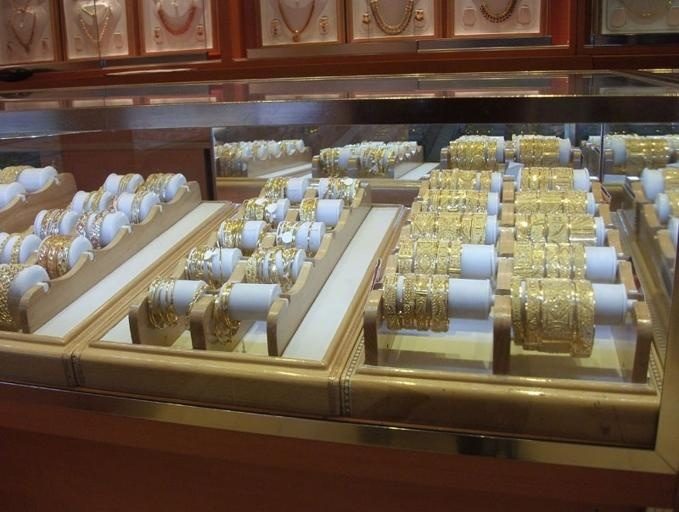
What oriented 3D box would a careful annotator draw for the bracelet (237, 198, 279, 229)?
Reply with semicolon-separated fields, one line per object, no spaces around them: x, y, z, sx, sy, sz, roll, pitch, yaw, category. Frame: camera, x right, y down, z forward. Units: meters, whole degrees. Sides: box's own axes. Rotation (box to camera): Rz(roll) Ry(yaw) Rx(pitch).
-0.244;-0.134;1.542;0.093;0.093;0.088;6;27;15;bracelet

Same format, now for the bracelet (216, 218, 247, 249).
-0.298;-0.063;1.420;0.071;0.083;0.071;3;6;8;bracelet

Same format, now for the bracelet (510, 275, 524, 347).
0.352;0.109;1.020;0.028;0.134;0.046;2;-10;21;bracelet

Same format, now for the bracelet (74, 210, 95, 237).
-0.724;-0.089;1.460;0.063;0.074;0.058;4;1;4;bracelet

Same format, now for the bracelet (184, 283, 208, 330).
-0.300;0.110;1.136;0.022;0.073;0.067;20;-46;-14;bracelet

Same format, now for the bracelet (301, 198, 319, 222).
-0.090;-0.131;1.501;0.051;0.076;0.054;1;4;10;bracelet

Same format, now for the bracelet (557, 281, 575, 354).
0.436;0.124;0.993;0.025;0.100;0.084;-2;36;19;bracelet

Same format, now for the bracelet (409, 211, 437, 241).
0.204;-0.071;1.296;0.054;0.062;0.058;0;5;12;bracelet

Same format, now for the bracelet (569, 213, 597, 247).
0.615;-0.046;1.307;0.056;0.091;0.084;-1;-22;23;bracelet

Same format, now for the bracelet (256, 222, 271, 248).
-0.209;-0.053;1.392;0.039;0.088;0.057;3;6;10;bracelet

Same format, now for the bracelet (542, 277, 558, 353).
0.407;0.118;1.007;0.017;0.121;0.042;1;-10;23;bracelet

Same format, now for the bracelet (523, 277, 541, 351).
0.374;0.119;1.005;0.025;0.094;0.095;1;39;11;bracelet

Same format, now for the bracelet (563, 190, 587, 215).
0.642;-0.147;1.399;0.056;0.031;0.063;-2;30;12;bracelet

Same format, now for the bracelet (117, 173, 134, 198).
-0.697;-0.227;1.676;0.036;0.076;0.071;8;12;13;bracelet

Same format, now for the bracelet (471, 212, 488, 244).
0.350;-0.073;1.287;0.050;0.112;0.075;1;6;17;bracelet

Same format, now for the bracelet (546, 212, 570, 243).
0.537;-0.066;1.267;0.049;0.103;0.099;3;24;21;bracelet

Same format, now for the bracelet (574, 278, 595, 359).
0.468;0.123;0.989;0.027;0.114;0.098;-2;32;14;bracelet

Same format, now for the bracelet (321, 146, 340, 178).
-0.030;-0.320;1.764;0.057;0.083;0.065;1;18;5;bracelet

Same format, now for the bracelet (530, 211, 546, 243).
0.490;-0.073;1.276;0.055;0.061;0.014;6;-21;40;bracelet

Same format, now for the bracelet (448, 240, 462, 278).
0.262;0.013;1.172;0.029;0.105;0.070;0;2;16;bracelet

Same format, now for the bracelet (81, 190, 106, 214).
-0.769;-0.171;1.622;0.067;0.079;0.066;0;-8;-8;bracelet

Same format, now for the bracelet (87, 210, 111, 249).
-0.681;-0.069;1.487;0.076;0.088;0.077;4;9;8;bracelet

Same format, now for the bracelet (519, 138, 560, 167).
0.671;-0.359;1.790;0.137;0.089;0.153;5;11;13;bracelet

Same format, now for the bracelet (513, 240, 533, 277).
0.406;0.009;1.144;0.021;0.078;0.019;2;-47;14;bracelet

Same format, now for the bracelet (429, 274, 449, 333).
0.201;0.100;1.048;0.028;0.108;0.092;0;10;6;bracelet

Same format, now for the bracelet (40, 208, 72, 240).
-0.819;-0.096;1.520;0.074;0.100;0.092;4;3;2;bracelet

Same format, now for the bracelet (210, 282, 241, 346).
-0.249;0.136;1.132;0.031;0.110;0.102;4;-17;16;bracelet

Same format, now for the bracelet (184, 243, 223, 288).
-0.340;0.025;1.281;0.082;0.100;0.033;-29;-32;31;bracelet

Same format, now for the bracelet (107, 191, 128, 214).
-0.681;-0.163;1.579;0.023;0.067;0.047;33;10;25;bracelet

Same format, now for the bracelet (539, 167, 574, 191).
0.665;-0.251;1.585;0.075;0.055;0.081;3;19;17;bracelet

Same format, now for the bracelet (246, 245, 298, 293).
-0.161;0.027;1.238;0.104;0.111;0.097;4;-2;7;bracelet

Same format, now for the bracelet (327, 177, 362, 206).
0.012;-0.205;1.665;0.089;0.096;0.096;3;5;8;bracelet

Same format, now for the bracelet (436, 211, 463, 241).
0.279;-0.075;1.297;0.057;0.062;0.062;0;0;5;bracelet

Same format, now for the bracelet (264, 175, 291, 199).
-0.200;-0.218;1.653;0.065;0.077;0.062;0;-3;13;bracelet

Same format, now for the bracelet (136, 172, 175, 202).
-0.593;-0.231;1.675;0.093;0.105;0.089;6;36;8;bracelet
